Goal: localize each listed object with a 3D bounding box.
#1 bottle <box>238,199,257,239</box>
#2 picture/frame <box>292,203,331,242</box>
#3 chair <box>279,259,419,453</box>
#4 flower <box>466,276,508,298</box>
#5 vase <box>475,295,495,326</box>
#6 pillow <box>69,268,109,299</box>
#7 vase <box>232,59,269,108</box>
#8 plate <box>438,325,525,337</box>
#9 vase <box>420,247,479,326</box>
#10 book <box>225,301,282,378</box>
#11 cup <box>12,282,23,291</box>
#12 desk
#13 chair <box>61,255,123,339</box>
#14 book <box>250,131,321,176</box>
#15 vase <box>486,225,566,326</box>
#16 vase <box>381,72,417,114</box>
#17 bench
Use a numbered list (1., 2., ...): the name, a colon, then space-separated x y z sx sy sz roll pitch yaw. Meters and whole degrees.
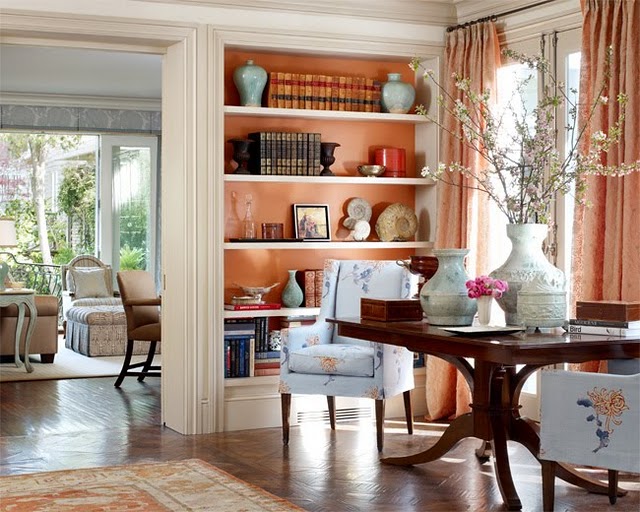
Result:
1. bottle: -0.542 -0.286 4.406 0.122 0.338 0.203 1 -4 -8
2. picture/frame: -0.080 -0.263 4.589 0.376 0.299 0.056 1 -13 -17
3. chair: 0.244 0.624 3.969 1.035 1.080 0.988 -2 0 -26
4. flower: 0.818 0.139 2.772 0.140 0.085 0.133 2 0 -32
5. vase: 0.805 0.266 2.807 0.075 0.140 0.205 -1 -3 14
6. pillow: -3.545 0.431 8.747 0.526 0.441 0.164 -3 -31 -30
7. vase: -0.530 -1.291 4.382 0.280 0.384 0.275 2 -4 -23
8. plate: 0.711 0.340 2.642 0.363 0.031 0.302 2 -4 -38
9. vase: 0.688 0.153 3.022 0.354 0.361 0.319 0 4 16
10. book: -0.521 0.638 4.321 0.702 0.564 0.235 1 -1 -31
11. cup: -3.465 0.347 6.609 0.116 0.079 0.119 1 3 0
12. desk: 0.917 0.658 2.677 1.005 0.585 1.346 2 -4 -27
13. chair: -3.500 0.613 8.898 0.936 1.164 0.866 -3 -3 -23
14. book: -0.267 -0.786 4.412 0.547 0.343 0.171 0 -4 -7
15. vase: 1.051 0.088 2.972 0.454 0.465 0.411 2 11 14
16. vase: 0.595 -1.347 4.769 0.378 0.280 0.290 -15 25 -33
17. bench: -2.946 0.996 7.666 0.967 0.438 0.900 0 3 -24
